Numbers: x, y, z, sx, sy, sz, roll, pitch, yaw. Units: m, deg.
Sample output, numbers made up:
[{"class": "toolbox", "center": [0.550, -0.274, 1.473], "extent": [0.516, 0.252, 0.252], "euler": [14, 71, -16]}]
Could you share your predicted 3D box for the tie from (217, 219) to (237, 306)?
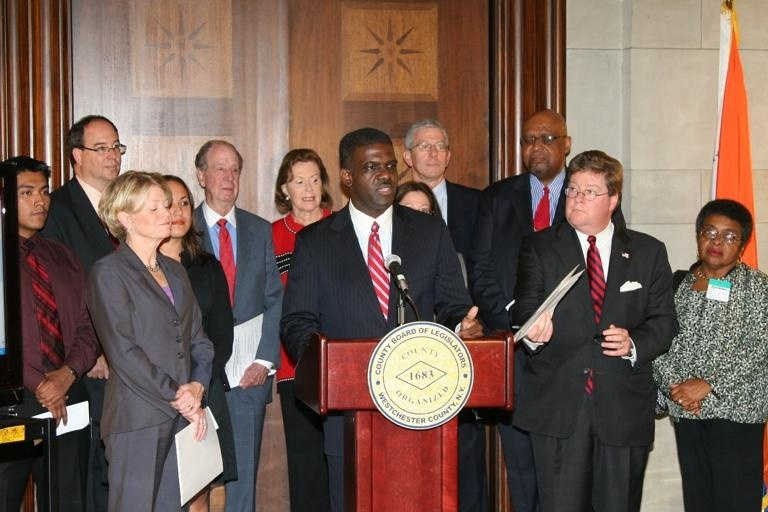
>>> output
[{"class": "tie", "center": [-1.083, 0.003, 5.049], "extent": [0.089, 0.686, 0.073], "euler": [-2, -24, -6]}]

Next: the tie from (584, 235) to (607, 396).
[{"class": "tie", "center": [1.240, 0.339, 4.447], "extent": [0.125, 0.883, 0.118], "euler": [-1, 1, -1]}]

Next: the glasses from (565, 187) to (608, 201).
[{"class": "glasses", "center": [1.206, -0.373, 4.449], "extent": [0.240, 0.075, 0.075], "euler": [1, 7, 14]}]

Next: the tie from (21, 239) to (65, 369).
[{"class": "tie", "center": [-2.044, 0.289, 4.471], "extent": [0.177, 0.761, 0.254], "euler": [-5, 9, -33]}]

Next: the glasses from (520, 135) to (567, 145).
[{"class": "glasses", "center": [1.093, -0.812, 5.176], "extent": [0.277, 0.073, 0.073], "euler": [1, 7, 12]}]

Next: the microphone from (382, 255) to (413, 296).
[{"class": "microphone", "center": [0.068, 0.095, 3.644], "extent": [0.073, 0.071, 0.262], "euler": [-3, 27, -7]}]

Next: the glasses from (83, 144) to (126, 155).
[{"class": "glasses", "center": [-1.914, -0.732, 5.030], "extent": [0.224, 0.067, 0.086], "euler": [-5, 8, -30]}]

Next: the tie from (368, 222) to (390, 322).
[{"class": "tie", "center": [-0.029, 0.089, 3.988], "extent": [0.096, 0.564, 0.069], "euler": [-6, 4, 5]}]

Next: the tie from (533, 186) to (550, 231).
[{"class": "tie", "center": [1.086, -0.328, 5.167], "extent": [0.156, 0.286, 0.057], "euler": [4, -7, -11]}]
